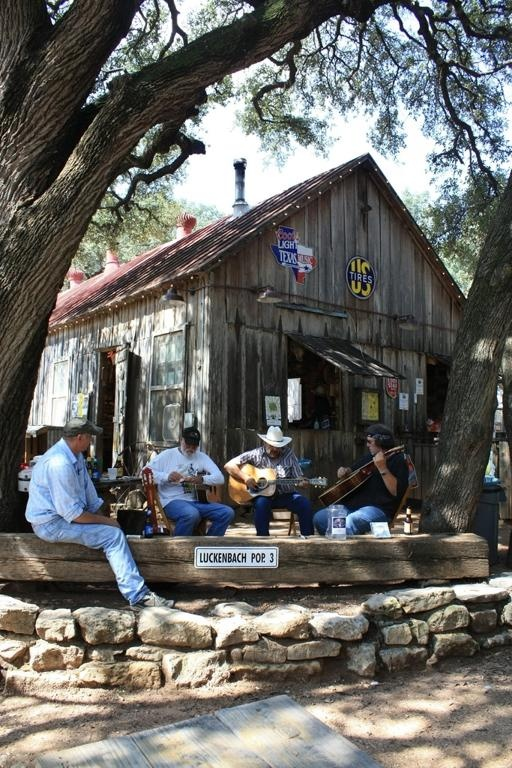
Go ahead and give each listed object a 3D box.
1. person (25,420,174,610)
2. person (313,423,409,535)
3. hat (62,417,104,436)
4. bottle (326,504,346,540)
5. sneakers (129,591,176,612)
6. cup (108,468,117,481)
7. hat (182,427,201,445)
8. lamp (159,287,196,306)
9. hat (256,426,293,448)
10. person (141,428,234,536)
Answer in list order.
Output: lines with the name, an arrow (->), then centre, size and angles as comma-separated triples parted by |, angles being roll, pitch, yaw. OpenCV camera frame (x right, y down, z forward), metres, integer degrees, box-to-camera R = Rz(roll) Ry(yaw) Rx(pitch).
person -> -1.167, 0.880, 4.749 | 0.637, 1.205, 0.939 | -5, 11, -38
person -> 0.915, 0.827, 5.746 | 0.689, 0.966, 0.751 | 6, 10, 30
hat -> -1.233, 0.310, 4.914 | 0.244, 0.124, 0.156 | 1, 4, -31
bottle -> 0.633, 1.084, 5.333 | 0.140, 0.226, 0.388 | 3, 9, 6
sneakers -> -0.705, 1.475, 4.615 | 0.280, 0.126, 0.127 | -1, -4, -4
cup -> -1.603, 1.013, 7.633 | 0.107, 0.113, 0.108 | -1, -12, 0
hat -> -0.620, 0.480, 6.487 | 0.127, 0.113, 0.180 | 27, 1, -24
lamp -> -1.082, -1.276, 9.601 | 0.453, 0.242, 0.332 | 4, -8, -31
hat -> 0.172, 0.506, 6.529 | 0.236, 0.120, 0.281 | 3, 5, -12
person -> -0.564, 1.020, 6.294 | 0.790, 1.229, 0.651 | -7, -13, 37
